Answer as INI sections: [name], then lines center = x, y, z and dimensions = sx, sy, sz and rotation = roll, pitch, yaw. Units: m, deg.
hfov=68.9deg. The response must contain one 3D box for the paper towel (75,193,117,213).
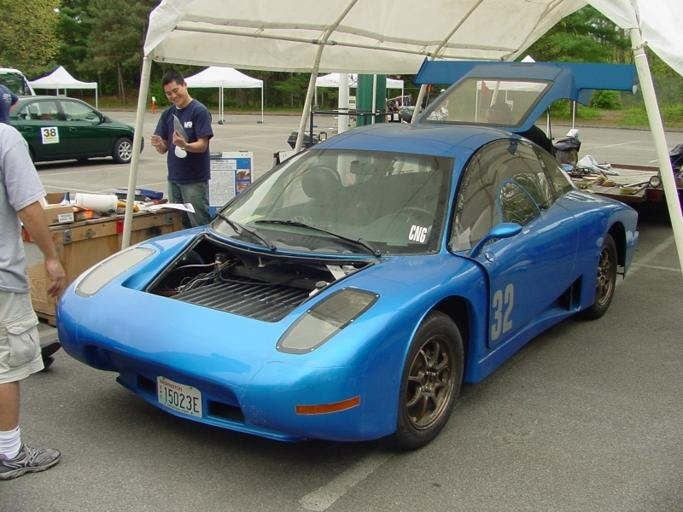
[paper towel]
center = -2.446, -0.532, 4.947
dimensions = 0.345, 0.174, 0.183
rotation = -3, 4, -30

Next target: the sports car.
[sports car]
center = 0.556, -0.131, 4.024
dimensions = 2.214, 1.666, 4.267
rotation = 15, 23, 42
